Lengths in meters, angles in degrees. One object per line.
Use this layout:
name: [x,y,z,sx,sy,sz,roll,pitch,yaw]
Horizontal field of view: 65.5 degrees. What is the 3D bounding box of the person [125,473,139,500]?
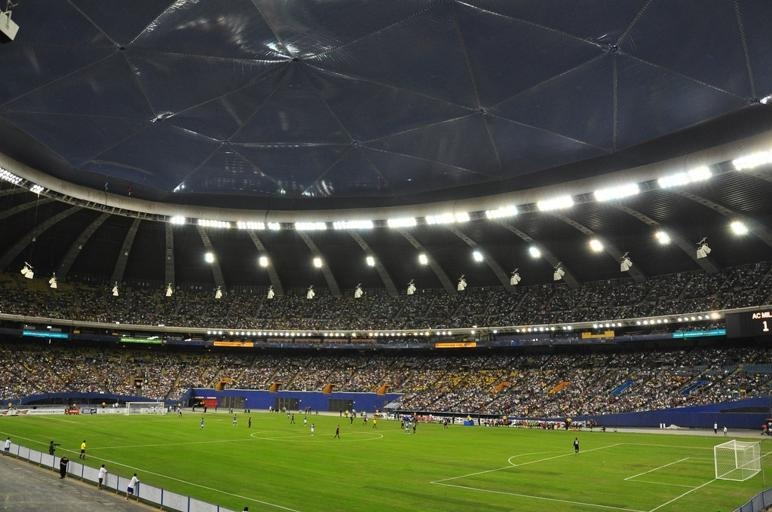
person: [-13.689,12.618,32.915,0.636,1.264,1.116,17,-35,-14]
